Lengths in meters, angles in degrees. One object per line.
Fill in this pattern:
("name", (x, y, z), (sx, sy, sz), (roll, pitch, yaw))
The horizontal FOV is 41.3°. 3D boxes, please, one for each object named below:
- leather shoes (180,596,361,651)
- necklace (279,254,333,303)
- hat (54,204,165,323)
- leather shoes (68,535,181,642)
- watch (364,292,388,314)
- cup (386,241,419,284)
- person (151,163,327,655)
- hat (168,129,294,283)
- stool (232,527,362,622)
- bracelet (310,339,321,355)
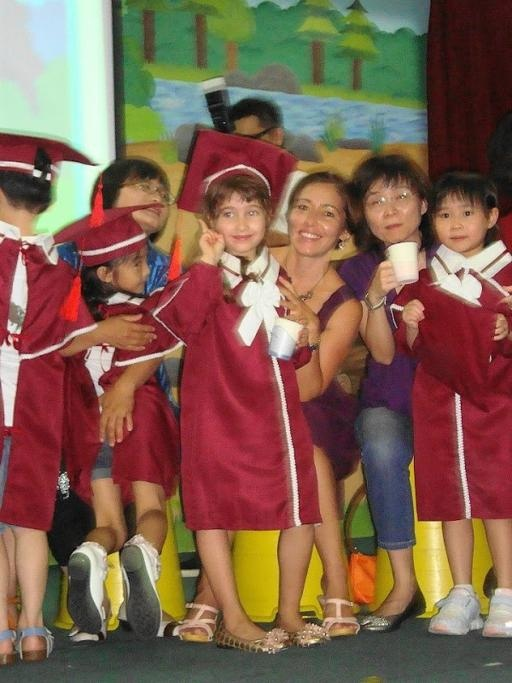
("leather shoes", (0.028, 0.685, 1.670), (0.298, 0.069, 0.168), (4, -17, -5))
("necklace", (0.120, -0.193, 1.981), (0.148, 0.150, 0.054), (-1, 11, 8))
("hat", (-0.419, -0.258, 2.053), (0.492, 0.383, 0.379), (-1, 14, -7))
("leather shoes", (-0.316, 0.541, 1.551), (0.227, 0.234, 0.090), (-2, -3, -5))
("watch", (0.322, -0.105, 1.851), (0.049, 0.050, 0.022), (26, -21, 21))
("cup", (0.368, -0.199, 1.698), (0.071, 0.102, 0.115), (-4, -11, 12))
("person", (-0.049, 0.120, 1.603), (0.379, 1.157, 0.184), (0, -12, -8))
("hat", (-0.120, -0.400, 1.981), (0.491, 0.380, 0.113), (11, 15, -11))
("stool", (0.116, 0.655, 1.932), (0.280, 0.227, 0.279), (0, -11, -5))
("bracelet", (0.147, 0.014, 1.721), (0.031, 0.032, 0.025), (-5, 28, -12))
